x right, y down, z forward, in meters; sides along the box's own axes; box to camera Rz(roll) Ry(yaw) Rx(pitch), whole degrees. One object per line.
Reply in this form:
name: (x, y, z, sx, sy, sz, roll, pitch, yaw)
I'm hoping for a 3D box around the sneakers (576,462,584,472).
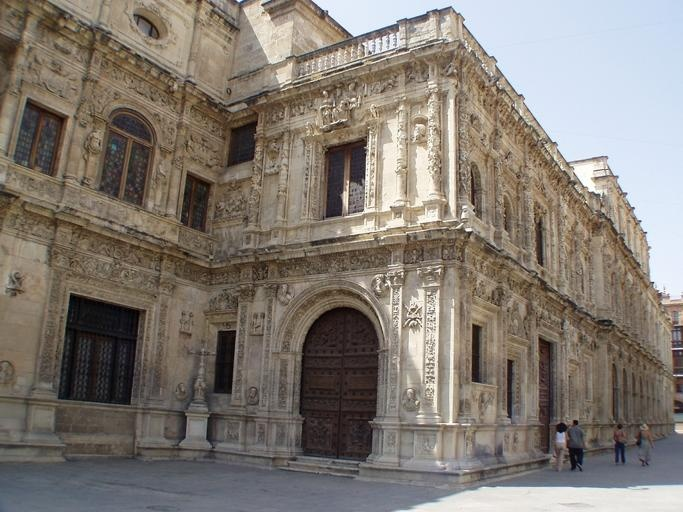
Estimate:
sneakers: (8.859, 7.861, 23.339, 0.196, 0.236, 0.592, -3, -34, 21)
